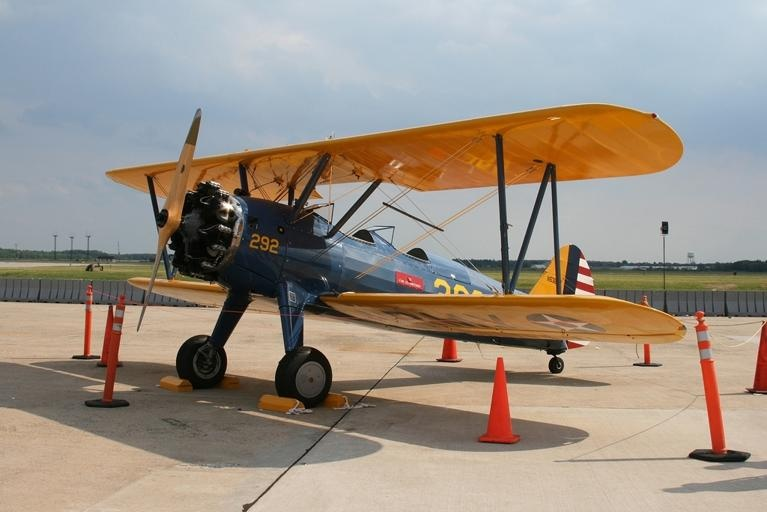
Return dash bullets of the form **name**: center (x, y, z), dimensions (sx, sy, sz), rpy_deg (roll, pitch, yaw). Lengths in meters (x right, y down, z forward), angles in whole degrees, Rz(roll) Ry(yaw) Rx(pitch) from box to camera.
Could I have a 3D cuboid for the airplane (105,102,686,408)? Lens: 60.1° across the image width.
- **airplane**: center (0.566, -0.177, 8.376), dimensions (6.838, 1.646, 4.958), rpy_deg (-2, -6, 41)
